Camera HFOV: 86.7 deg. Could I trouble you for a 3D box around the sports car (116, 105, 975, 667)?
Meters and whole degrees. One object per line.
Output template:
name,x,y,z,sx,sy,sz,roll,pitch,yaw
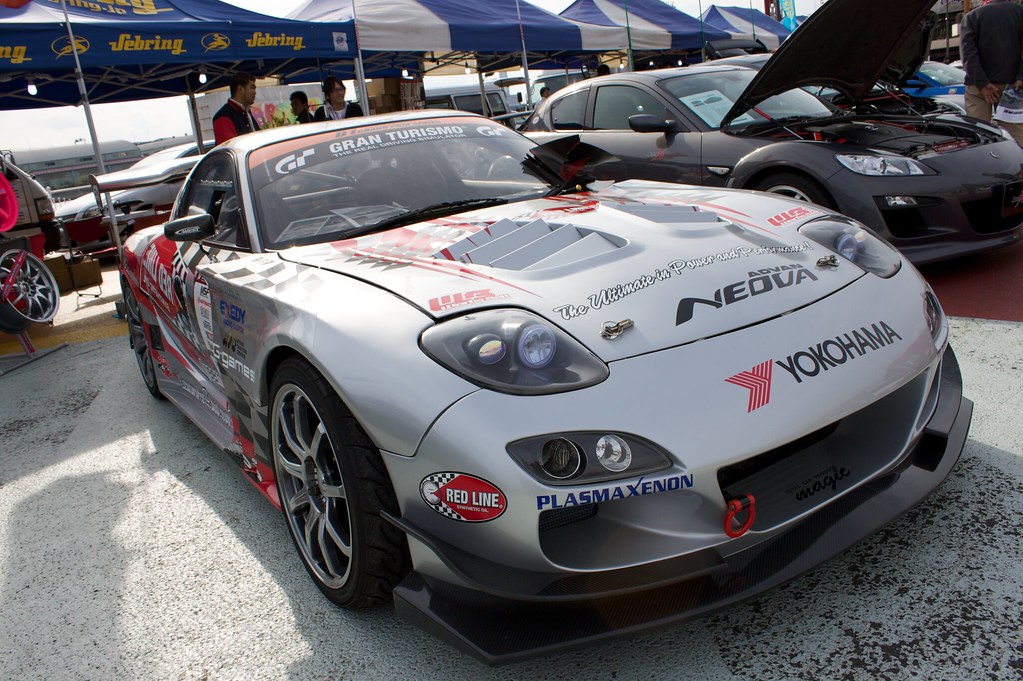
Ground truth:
sports car,-0.483,-0.532,3.253,2.736,1.266,4.698,-23,30,-34

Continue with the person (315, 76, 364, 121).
person,-2.464,-3.378,7.682,0.806,0.600,0.372,-11,23,-27
